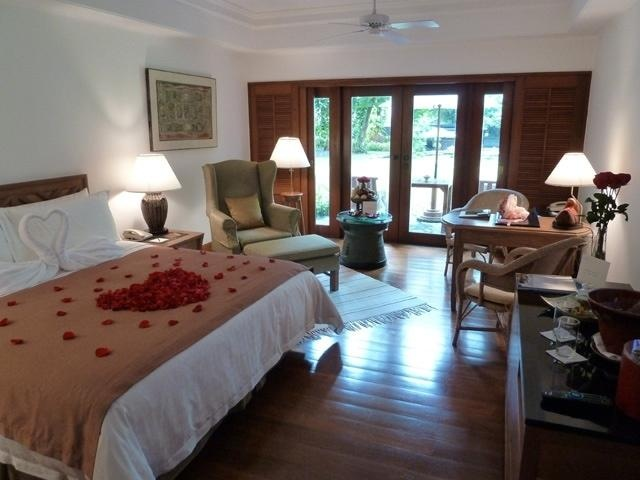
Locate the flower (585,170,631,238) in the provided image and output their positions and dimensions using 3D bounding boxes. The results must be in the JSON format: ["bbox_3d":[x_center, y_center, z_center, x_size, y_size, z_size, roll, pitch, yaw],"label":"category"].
[{"bbox_3d":[1.864,-0.222,2.881,0.296,0.428,0.230,-2,27,35],"label":"flower"}]

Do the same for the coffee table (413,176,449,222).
[{"bbox_3d":[1.551,-0.591,6.281,0.543,0.559,0.547,5,14,19],"label":"coffee table"}]

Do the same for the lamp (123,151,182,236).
[{"bbox_3d":[-1.693,-0.445,4.578,0.492,0.804,0.501,10,13,39],"label":"lamp"}]

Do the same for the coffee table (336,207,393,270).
[{"bbox_3d":[0.538,0.001,5.438,0.654,0.621,0.636,9,15,40],"label":"coffee table"}]

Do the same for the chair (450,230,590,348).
[{"bbox_3d":[1.574,0.217,3.639,0.984,1.200,0.931,10,16,40],"label":"chair"}]

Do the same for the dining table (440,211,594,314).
[{"bbox_3d":[1.661,0.393,3.961,1.200,0.898,0.967,4,9,25],"label":"dining table"}]

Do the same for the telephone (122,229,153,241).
[{"bbox_3d":[-1.778,-0.049,4.306,0.192,0.062,0.142,5,3,6],"label":"telephone"}]

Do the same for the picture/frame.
[{"bbox_3d":[-1.643,-1.521,5.187,0.021,0.828,1.128,6,14,27],"label":"picture/frame"}]

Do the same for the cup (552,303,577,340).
[{"bbox_3d":[1.061,0.358,1.936,0.100,0.160,0.096,-2,15,1],"label":"cup"}]
